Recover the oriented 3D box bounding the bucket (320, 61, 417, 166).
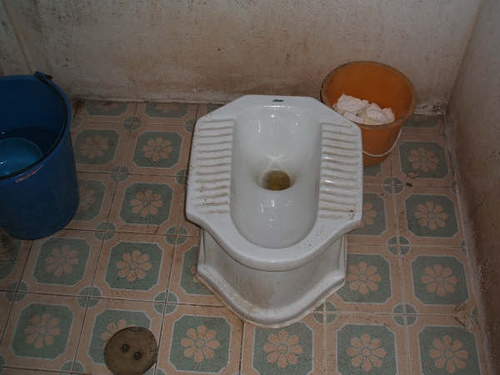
[{"bbox_3d":[0.522,-0.369,2.102,0.469,0.445,0.504,1,56,-1],"label":"bucket"}]

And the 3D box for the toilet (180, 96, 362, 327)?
[{"bbox_3d":[0.094,0.072,1.879,0.712,0.587,0.898,1,54,1],"label":"toilet"}]
